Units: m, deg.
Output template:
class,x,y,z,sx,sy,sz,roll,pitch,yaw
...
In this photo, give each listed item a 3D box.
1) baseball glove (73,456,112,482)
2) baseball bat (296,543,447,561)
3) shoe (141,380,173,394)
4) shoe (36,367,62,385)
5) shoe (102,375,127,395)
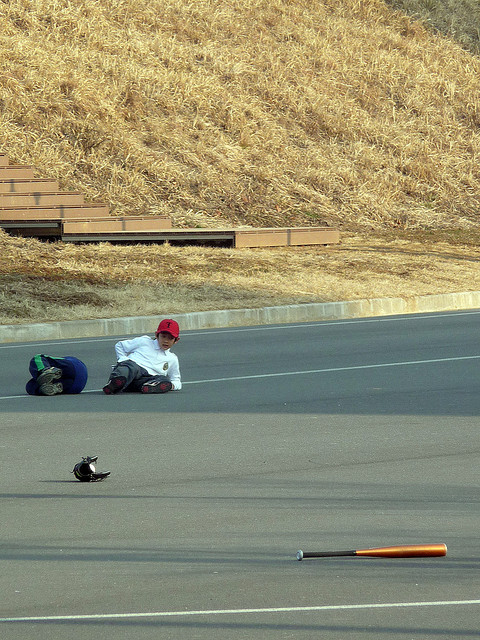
class,x,y,z,sx,sy,sz,roll,pitch,yaw
baseball glove,-0.902,0.906,9.011,0.224,0.185,0.247,5,12,-4
baseball bat,0.651,1.136,7.213,0.753,0.095,0.087,-2,0,-8
shoe,-0.717,0.581,12.621,0.288,0.098,0.126,-2,9,13
shoe,-1.616,0.480,12.455,0.111,0.087,0.236,5,8,12
shoe,-1.057,0.560,12.534,0.259,0.093,0.126,-31,1,35
